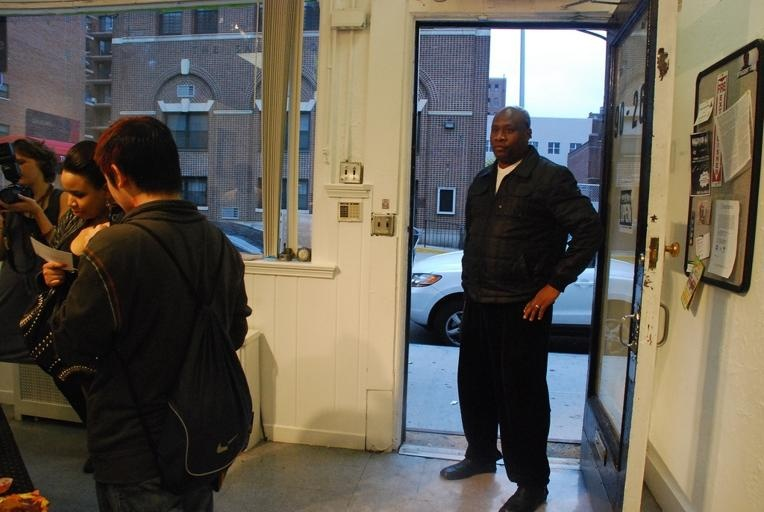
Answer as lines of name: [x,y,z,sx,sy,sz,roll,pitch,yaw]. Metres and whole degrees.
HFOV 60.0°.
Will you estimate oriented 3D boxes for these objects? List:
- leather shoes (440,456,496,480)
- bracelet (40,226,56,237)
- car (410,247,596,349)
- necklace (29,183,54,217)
leather shoes: [0.484,1.235,3.925,0.368,0.137,0.123,0,4,-6]
bracelet: [-1.961,-0.142,3.893,0.089,0.033,0.064,-31,25,5]
car: [1.048,0.404,6.164,1.631,0.736,0.798,3,-1,1]
necklace: [-2.034,-0.340,3.910,0.187,0.176,0.135,4,9,1]
